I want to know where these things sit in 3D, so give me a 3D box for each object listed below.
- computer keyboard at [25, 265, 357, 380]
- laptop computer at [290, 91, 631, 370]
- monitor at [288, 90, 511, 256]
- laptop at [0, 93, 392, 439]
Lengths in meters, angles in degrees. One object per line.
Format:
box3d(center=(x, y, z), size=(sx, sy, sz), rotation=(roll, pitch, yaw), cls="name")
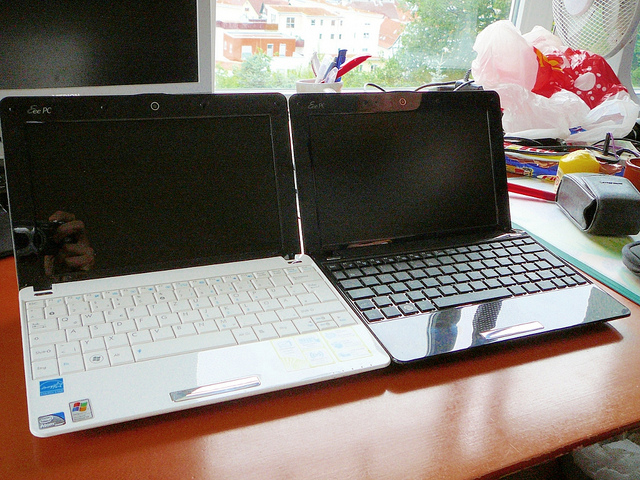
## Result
box3d(center=(-0.145, 0.082, 0.535), size=(0.344, 0.033, 0.120), rotation=(-7, 22, -17), cls="computer keyboard")
box3d(center=(0.156, 0.012, 0.718), size=(0.468, 0.247, 0.404), rotation=(-9, 36, -21), cls="laptop computer")
box3d(center=(0.136, -0.107, 0.716), size=(0.403, 0.215, 0.007), rotation=(-9, 11, -29), cls="monitor")
box3d(center=(-0.163, -0.013, 0.525), size=(0.355, 0.273, 0.318), rotation=(-9, 24, -20), cls="laptop")
